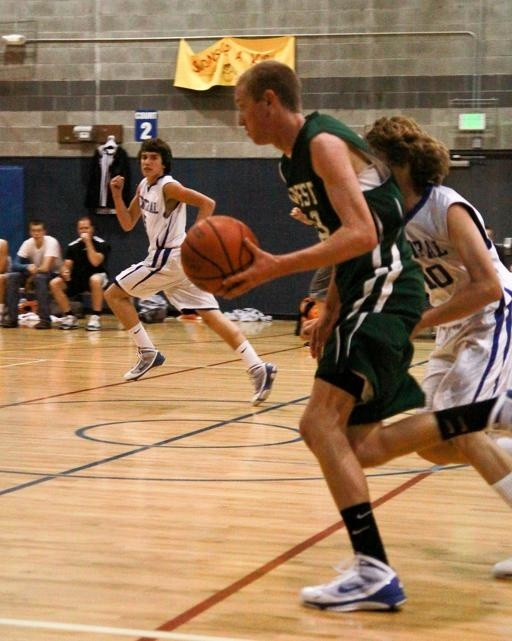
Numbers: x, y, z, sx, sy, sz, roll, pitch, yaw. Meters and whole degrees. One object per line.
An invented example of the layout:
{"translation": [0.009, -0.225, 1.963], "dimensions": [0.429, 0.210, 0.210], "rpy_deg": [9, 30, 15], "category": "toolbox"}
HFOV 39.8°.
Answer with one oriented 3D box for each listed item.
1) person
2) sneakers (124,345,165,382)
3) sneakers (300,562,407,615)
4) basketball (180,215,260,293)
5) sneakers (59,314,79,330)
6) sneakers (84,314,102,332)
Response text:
{"translation": [0.275, 0.020, 1.593], "dimensions": [0.561, 1.169, 0.751], "rpy_deg": [2, 1, 28], "category": "person"}
{"translation": [-0.868, 0.345, 5.469], "dimensions": [0.333, 0.178, 0.109], "rpy_deg": [-35, 17, 14], "category": "sneakers"}
{"translation": [0.203, 0.555, 1.484], "dimensions": [0.234, 0.103, 0.072], "rpy_deg": [-11, -26, 22], "category": "sneakers"}
{"translation": [-0.037, -0.127, 1.427], "dimensions": [0.177, 0.166, 0.160], "rpy_deg": [-9, 4, 2], "category": "basketball"}
{"translation": [-2.547, 0.041, 9.542], "dimensions": [0.134, 0.130, 0.327], "rpy_deg": [0, -5, 12], "category": "sneakers"}
{"translation": [-2.193, 0.047, 9.510], "dimensions": [0.166, 0.150, 0.401], "rpy_deg": [0, -1, 5], "category": "sneakers"}
